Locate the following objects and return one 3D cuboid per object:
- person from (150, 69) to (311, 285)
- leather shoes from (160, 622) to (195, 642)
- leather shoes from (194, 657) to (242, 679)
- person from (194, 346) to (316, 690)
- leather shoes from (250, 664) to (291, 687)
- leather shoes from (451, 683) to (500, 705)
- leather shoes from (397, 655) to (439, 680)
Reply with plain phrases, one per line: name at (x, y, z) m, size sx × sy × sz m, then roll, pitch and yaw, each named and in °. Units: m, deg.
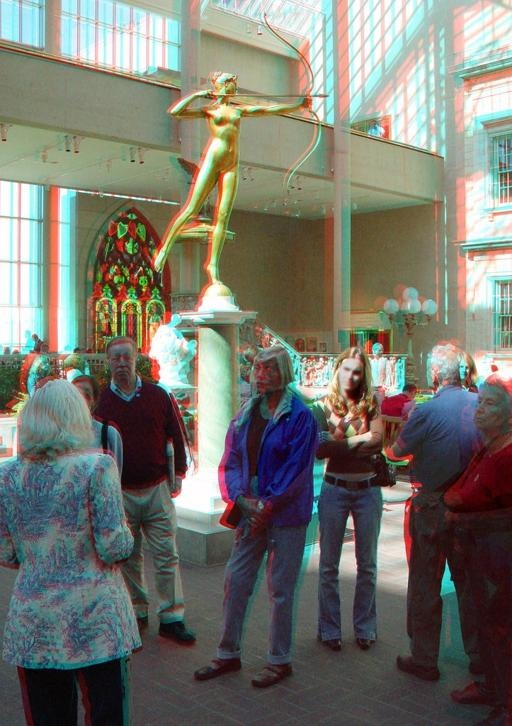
person at (-0.214, -1.259, 4.539) m, size 0.934 × 1.156 × 0.553 m, roll -2°, pitch -1°, yaw 1°
leather shoes at (-0.379, 1.322, 3.311) m, size 0.183 × 0.086 × 0.077 m, roll 2°, pitch 3°, yaw 38°
leather shoes at (-0.161, 1.297, 2.873) m, size 0.205 × 0.074 × 0.067 m, roll 2°, pitch 13°, yaw -22°
person at (0.001, 0.631, 2.840) m, size 0.523 × 1.199 × 0.251 m, roll -3°, pitch -1°, yaw 20°
leather shoes at (0.066, 1.285, 2.759) m, size 0.175 × 0.064 × 0.057 m, roll 7°, pitch -2°, yaw -44°
leather shoes at (0.698, 1.067, 2.140) m, size 0.055 × 0.058 × 0.147 m, roll -11°, pitch -2°, yaw -32°
leather shoes at (0.640, 1.187, 2.596) m, size 0.062 × 0.069 × 0.177 m, roll -6°, pitch 7°, yaw -31°
